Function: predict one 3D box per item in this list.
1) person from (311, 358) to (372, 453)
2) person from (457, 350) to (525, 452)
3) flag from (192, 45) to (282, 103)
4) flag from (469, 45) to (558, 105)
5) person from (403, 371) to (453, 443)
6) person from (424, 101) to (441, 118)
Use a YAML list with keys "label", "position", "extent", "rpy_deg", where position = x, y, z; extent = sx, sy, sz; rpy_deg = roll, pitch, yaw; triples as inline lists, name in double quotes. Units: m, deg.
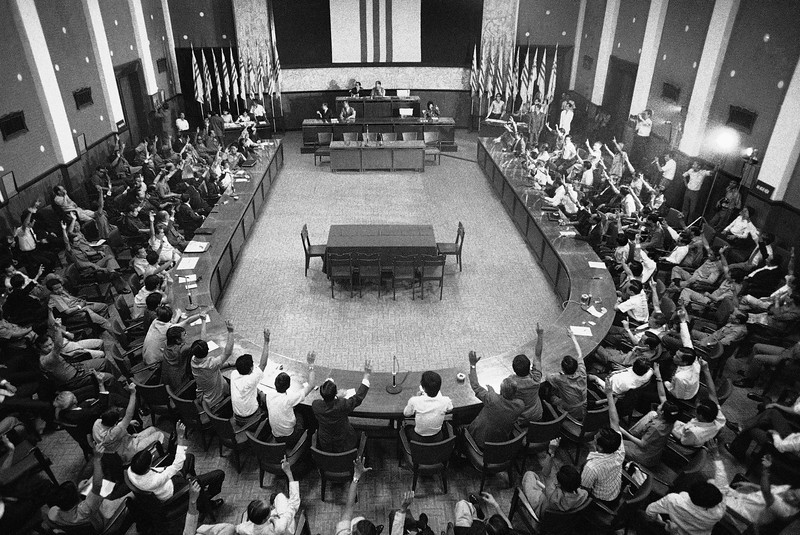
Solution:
- label: "person"
  position: [-0.963, 2.499, 8.253]
  extent: [0.904, 1.376, 0.599]
  rpy_deg: [-12, 29, -22]
- label: "person"
  position: [1.597, 2.444, 8.753]
  extent: [0.988, 2.311, 1.377]
  rpy_deg: [-4, 53, -4]
- label: "flag"
  position: [-7.930, -9.315, 24.182]
  extent: [3.795, 2.615, 3.095]
  rpy_deg: [-8, 28, -16]
- label: "flag"
  position: [5.533, -9.662, 24.550]
  extent: [4.196, 3.251, 0.358]
  rpy_deg: [-5, 36, -2]
- label: "person"
  position: [0.465, 2.371, 8.475]
  extent: [0.789, 1.221, 0.411]
  rpy_deg: [3, 26, 5]
- label: "person"
  position: [1.573, -7.693, 24.622]
  extent: [0.973, 0.612, 1.403]
  rpy_deg: [4, 35, 2]
